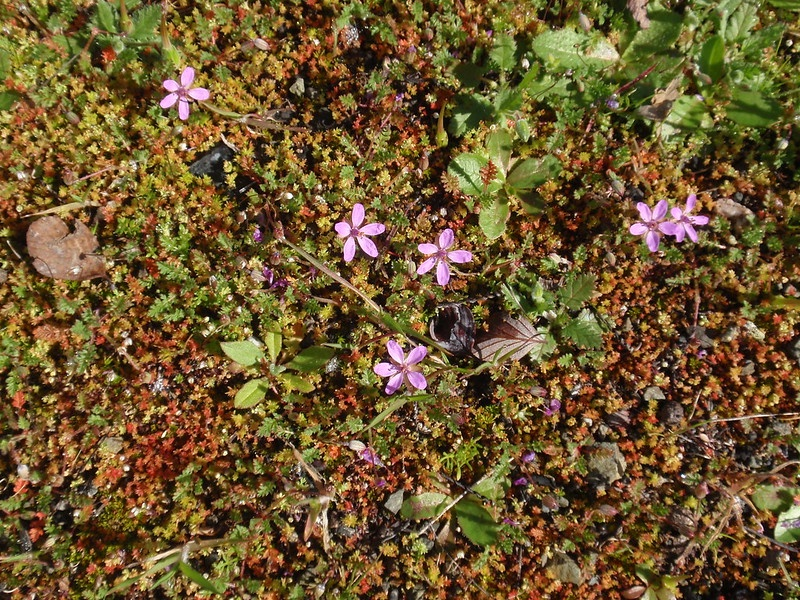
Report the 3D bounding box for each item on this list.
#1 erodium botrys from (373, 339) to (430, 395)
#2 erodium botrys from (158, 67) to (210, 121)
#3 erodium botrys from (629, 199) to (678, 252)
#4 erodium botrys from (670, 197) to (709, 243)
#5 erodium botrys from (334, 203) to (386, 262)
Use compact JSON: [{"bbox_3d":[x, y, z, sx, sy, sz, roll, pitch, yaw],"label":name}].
[{"bbox_3d":[0.046,0.525,5.668,0.373,0.378,0.495,25,122,41],"label":"erodium botrys"},{"bbox_3d":[-1.828,-1.733,5.901,0.364,0.343,0.102,-35,51,8],"label":"erodium botrys"},{"bbox_3d":[2.137,-0.643,5.901,0.370,0.173,0.398,-33,85,-2],"label":"erodium botrys"},{"bbox_3d":[2.489,-0.643,6.007,0.363,0.150,0.404,-3,80,23],"label":"erodium botrys"},{"bbox_3d":[-0.344,-0.538,5.768,0.490,0.178,0.474,-41,113,-18],"label":"erodium botrys"}]
